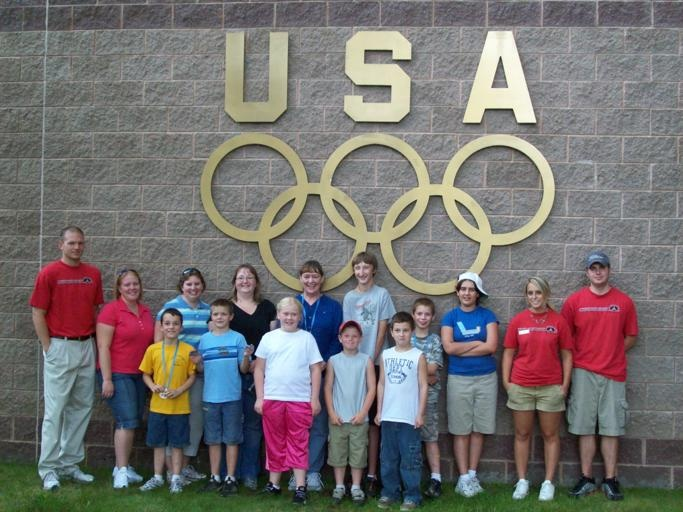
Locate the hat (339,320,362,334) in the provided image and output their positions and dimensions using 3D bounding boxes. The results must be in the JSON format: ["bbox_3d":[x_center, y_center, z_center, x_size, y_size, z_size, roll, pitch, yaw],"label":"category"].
[{"bbox_3d":[0.099,0.733,11.597,0.219,0.132,0.319,2,-9,0],"label":"hat"}]
